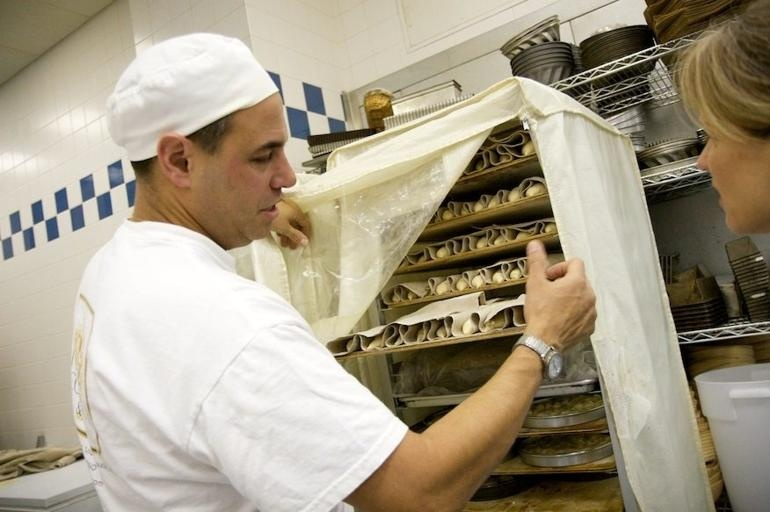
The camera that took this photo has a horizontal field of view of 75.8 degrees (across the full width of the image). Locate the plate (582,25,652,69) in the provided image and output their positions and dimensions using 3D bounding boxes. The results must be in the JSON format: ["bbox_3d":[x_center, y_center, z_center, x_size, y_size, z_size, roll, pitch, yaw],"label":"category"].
[{"bbox_3d":[0.982,-0.895,2.133,0.230,0.091,0.228,-12,-1,44],"label":"plate"}]

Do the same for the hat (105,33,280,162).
[{"bbox_3d":[-0.415,-0.332,1.122,0.334,0.183,0.239,-13,16,2],"label":"hat"}]

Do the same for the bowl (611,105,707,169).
[{"bbox_3d":[1.264,-0.567,2.268,0.467,0.147,0.371,7,-2,-41],"label":"bowl"}]

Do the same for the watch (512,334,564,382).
[{"bbox_3d":[0.331,0.220,1.075,0.097,0.096,0.059,12,41,39],"label":"watch"}]

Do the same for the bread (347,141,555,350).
[{"bbox_3d":[0.394,-0.040,2.029,0.734,0.347,0.926,-7,2,25],"label":"bread"}]
